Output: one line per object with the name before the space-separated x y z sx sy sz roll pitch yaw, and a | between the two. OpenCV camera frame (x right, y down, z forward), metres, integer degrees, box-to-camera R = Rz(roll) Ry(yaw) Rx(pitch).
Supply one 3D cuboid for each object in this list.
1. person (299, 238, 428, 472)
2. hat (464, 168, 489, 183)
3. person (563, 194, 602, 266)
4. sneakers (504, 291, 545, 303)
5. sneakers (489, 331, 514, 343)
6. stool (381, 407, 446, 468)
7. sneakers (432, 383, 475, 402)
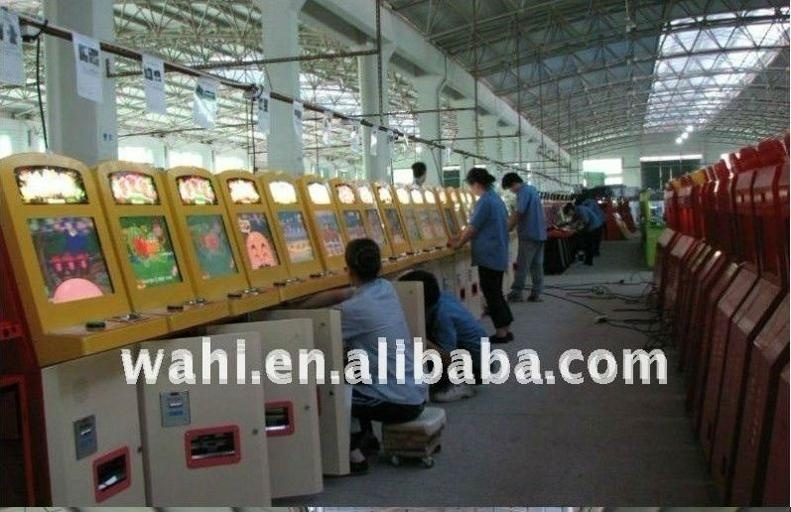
person | -0.091 0.662 4.236 0.568 1.573 0.332 -5 5 0
hat | 0.870 -0.867 6.462 0.197 0.155 0.148 0 10 29
person | 3.747 -0.487 11.758 0.626 1.236 1.608 -4 6 12
sneakers | 1.655 0.484 7.731 0.481 0.216 0.166 3 0 8
sneakers | 1.087 0.818 6.163 0.282 0.118 0.106 0 2 10
stool | 0.154 1.306 4.406 0.384 0.272 0.544 -5 -6 14
sneakers | 0.479 1.125 5.007 0.373 0.170 0.142 1 -7 -3
